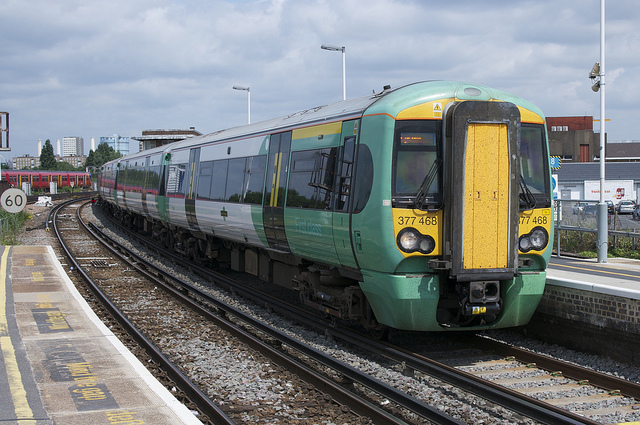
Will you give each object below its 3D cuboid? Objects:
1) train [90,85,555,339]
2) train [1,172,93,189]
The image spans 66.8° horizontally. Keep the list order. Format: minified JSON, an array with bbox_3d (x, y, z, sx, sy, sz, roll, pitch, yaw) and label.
[{"bbox_3d":[-5.159,-0.499,20.430,3.185,4.972,30.056,-4,5,-33],"label":"train"},{"bbox_3d":[-41.314,-4.987,74.932,1.421,2.423,28.573,-2,4,-6],"label":"train"}]
